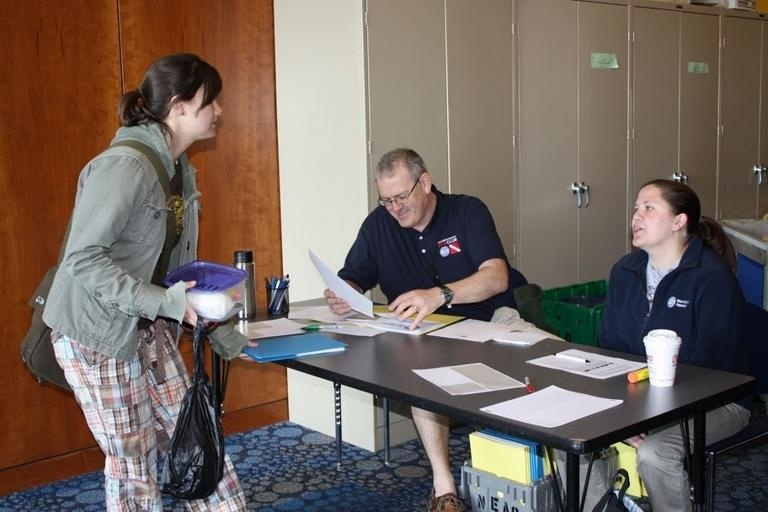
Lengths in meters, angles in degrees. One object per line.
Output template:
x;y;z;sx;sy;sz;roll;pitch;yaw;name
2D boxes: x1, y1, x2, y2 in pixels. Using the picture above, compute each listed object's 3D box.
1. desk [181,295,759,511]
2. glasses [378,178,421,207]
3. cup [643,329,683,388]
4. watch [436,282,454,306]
0.491;0.653;2.389;1.604;0.464;0.797;6;15;35;desk
0.087;-0.325;3.297;0.163;0.051;0.176;-2;45;51;glasses
1.025;0.363;2.213;0.114;0.169;0.182;3;13;24;cup
0.310;0.192;3.077;0.097;0.097;0.086;6;-5;-28;watch
